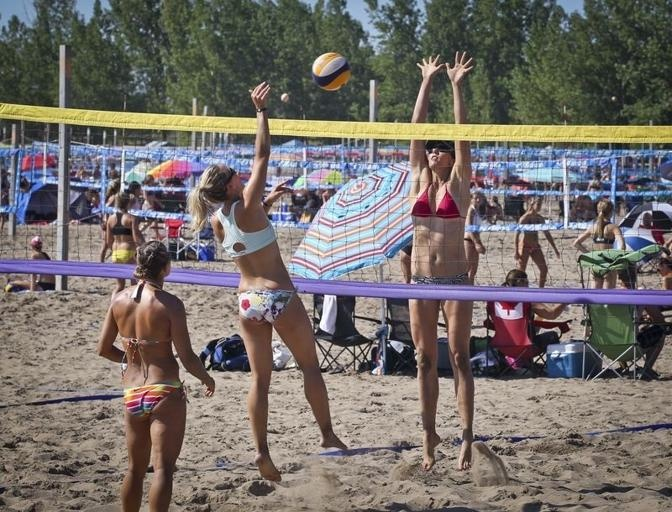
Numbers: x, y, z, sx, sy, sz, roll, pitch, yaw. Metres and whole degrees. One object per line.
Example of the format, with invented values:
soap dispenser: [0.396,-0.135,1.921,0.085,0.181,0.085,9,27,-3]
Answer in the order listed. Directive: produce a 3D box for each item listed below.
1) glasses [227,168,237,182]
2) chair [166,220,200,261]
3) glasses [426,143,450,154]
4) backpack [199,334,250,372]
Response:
glasses: [-1.214,-0.937,12.291,0.087,0.121,0.050,-9,-19,17]
chair: [-3.146,-0.252,20.769,0.438,0.733,0.518,4,-14,16]
glasses: [1.217,-1.290,12.758,0.165,0.048,0.170,-1,-6,28]
backpack: [-1.589,1.396,15.168,0.590,0.266,0.605,9,22,40]
